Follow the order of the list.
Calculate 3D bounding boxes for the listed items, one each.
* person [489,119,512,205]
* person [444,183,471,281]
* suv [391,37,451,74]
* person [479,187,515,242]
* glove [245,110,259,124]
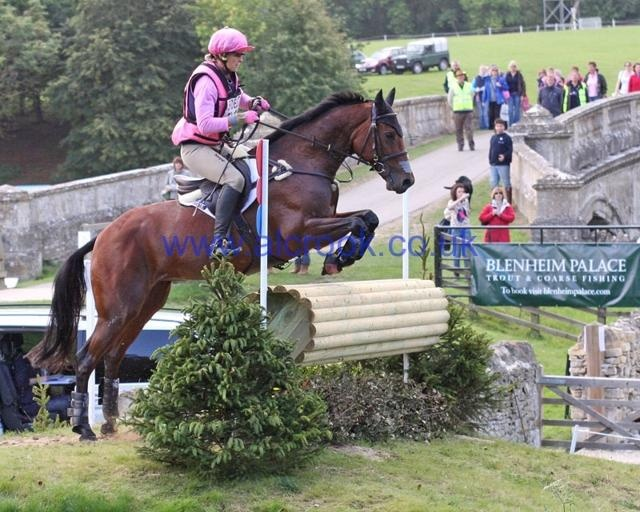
[{"bbox_3d":[5.714,-3.129,50.455,0.728,2.732,0.663,7,11,27],"label":"person"},{"bbox_3d":[4.012,-0.782,46.334,0.746,2.849,1.366,0,-1,4],"label":"person"},{"bbox_3d":[5.279,-10.724,85.117,1.663,1.584,3.327,1,6,39],"label":"suv"},{"bbox_3d":[5.192,-1.213,46.812,0.952,1.639,1.236,0,-1,6],"label":"person"},{"bbox_3d":[-1.645,-3.374,38.459,0.347,0.339,0.267,0,-1,-3],"label":"glove"}]
